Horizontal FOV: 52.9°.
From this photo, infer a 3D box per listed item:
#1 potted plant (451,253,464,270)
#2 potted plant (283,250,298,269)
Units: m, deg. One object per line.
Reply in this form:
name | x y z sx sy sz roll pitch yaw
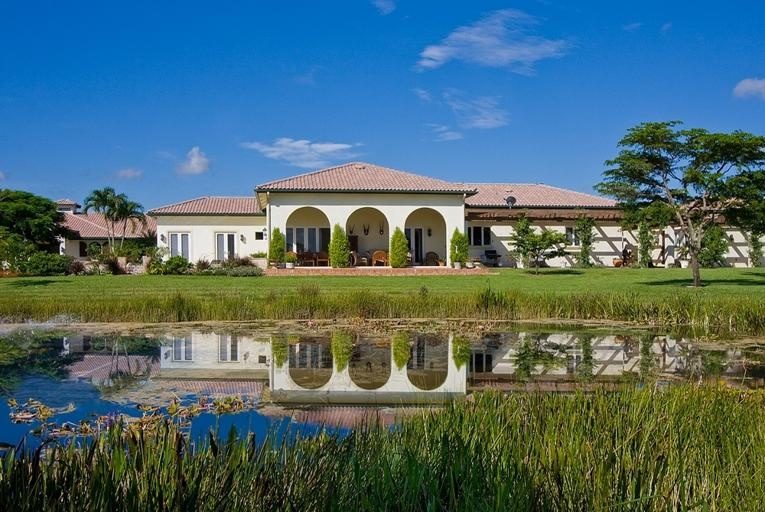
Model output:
potted plant | 3.591 0.199 35.808 0.662 0.729 0.671 0 -1 41
potted plant | -4.211 0.209 35.040 0.655 0.654 0.611 1 -8 -12
